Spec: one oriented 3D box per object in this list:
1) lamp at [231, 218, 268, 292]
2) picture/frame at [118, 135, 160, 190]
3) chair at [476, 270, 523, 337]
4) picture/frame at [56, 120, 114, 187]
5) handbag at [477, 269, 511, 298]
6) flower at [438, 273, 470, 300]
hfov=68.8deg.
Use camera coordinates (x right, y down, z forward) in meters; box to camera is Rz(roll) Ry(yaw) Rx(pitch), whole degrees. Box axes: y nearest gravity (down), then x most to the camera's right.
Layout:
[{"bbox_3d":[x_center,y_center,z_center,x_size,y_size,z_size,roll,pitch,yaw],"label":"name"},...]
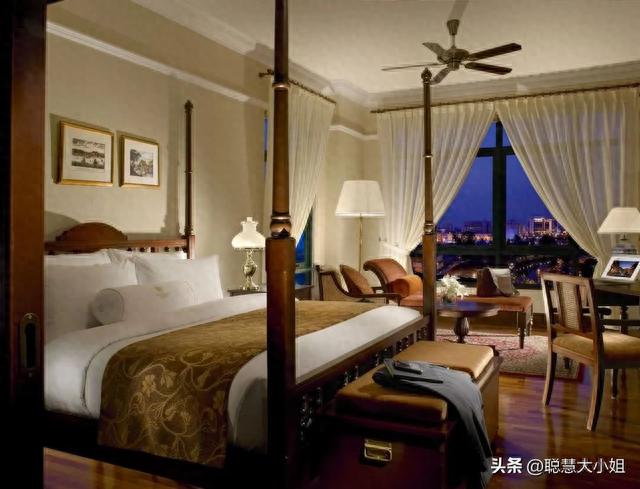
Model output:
[{"bbox_3d":[-0.768,0.115,5.057,0.396,0.761,0.394,1,-2,-4],"label":"lamp"},{"bbox_3d":[-1.686,-0.753,4.291,0.049,0.552,0.515,-1,-1,31],"label":"picture/frame"},{"bbox_3d":[2.379,0.676,6.091,0.720,0.792,0.780,1,2,36],"label":"chair"},{"bbox_3d":[-1.954,-0.746,3.832,0.040,0.608,0.568,2,3,30],"label":"picture/frame"},{"bbox_3d":[2.367,0.530,6.344,0.332,0.373,0.487,-4,-4,43],"label":"handbag"},{"bbox_3d":[1.727,0.555,5.996,0.330,0.352,0.342,2,-4,-14],"label":"flower"}]
